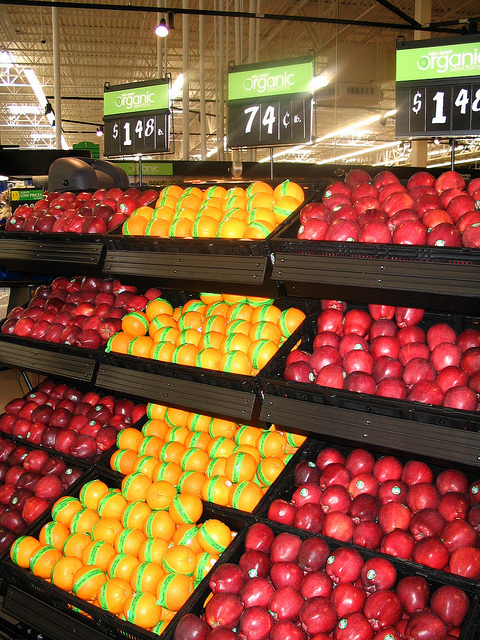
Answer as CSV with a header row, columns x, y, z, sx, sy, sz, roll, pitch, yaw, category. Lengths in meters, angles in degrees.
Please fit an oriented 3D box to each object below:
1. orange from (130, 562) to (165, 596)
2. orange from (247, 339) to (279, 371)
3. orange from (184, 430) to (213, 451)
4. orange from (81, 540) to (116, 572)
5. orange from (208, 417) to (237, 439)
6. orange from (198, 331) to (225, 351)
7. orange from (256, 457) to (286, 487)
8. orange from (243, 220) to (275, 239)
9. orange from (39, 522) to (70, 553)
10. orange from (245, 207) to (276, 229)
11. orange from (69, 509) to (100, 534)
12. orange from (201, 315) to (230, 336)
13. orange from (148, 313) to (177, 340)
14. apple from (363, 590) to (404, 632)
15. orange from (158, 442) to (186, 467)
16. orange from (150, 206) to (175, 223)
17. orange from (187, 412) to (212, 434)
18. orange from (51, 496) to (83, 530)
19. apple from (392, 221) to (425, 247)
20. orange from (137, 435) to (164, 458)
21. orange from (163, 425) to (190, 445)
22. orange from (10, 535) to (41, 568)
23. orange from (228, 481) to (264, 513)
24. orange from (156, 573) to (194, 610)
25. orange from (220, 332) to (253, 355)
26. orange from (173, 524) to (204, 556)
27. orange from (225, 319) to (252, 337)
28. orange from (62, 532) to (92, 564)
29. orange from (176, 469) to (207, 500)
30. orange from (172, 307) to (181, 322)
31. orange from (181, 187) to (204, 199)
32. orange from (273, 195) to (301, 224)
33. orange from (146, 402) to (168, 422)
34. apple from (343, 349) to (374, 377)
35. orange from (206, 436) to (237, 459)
x,y,z,sx,sy,sz,roll,pitch,yaw,category
-0.280,0.779,1.310,0.085,0.092,0.087,-1,-4,0,orange
0.065,0.099,1.428,0.101,0.097,0.095,10,14,-12,orange
-0.169,0.487,1.749,0.076,0.075,0.057,29,-22,-26,orange
-0.491,0.793,1.478,0.083,0.077,0.083,-4,-5,-41,orange
-0.071,0.440,1.747,0.111,0.092,0.092,-4,-16,3,orange
-0.106,0.073,1.565,0.070,0.072,0.079,-5,3,1,orange
0.106,0.521,1.498,0.096,0.113,0.096,8,9,3,orange
0.068,-0.302,1.432,0.059,0.061,0.059,35,69,24,orange
-0.709,0.830,1.654,0.082,0.084,0.097,-33,40,-3,orange
0.081,-0.376,1.543,0.095,0.080,0.081,-18,35,-15,orange
-0.598,0.764,1.650,0.083,0.090,0.086,-7,-12,0,orange
-0.094,0.013,1.640,0.080,0.089,0.084,12,37,-15,orange
-0.322,0.012,1.836,0.105,0.103,0.119,-20,-8,-14,orange
0.343,0.673,1.006,0.099,0.075,0.067,-15,22,-23,apple
-0.273,0.529,1.694,0.085,0.090,0.080,-7,-22,0,orange
-0.321,-0.446,1.786,0.087,0.096,0.086,4,-10,1,orange
-0.169,0.430,1.817,0.082,0.092,0.082,3,-2,3,orange
-0.692,0.766,1.712,0.081,0.070,0.082,6,13,-21,orange
0.448,-0.223,1.115,0.084,0.065,0.070,-20,14,-30,apple
-0.379,0.520,1.824,0.084,0.093,0.082,-22,-7,7,orange
-0.269,0.481,1.816,0.074,0.076,0.058,10,-33,-36,orange
-0.819,0.858,1.606,0.086,0.093,0.089,-9,-10,6,orange
0.021,0.582,1.450,0.085,0.095,0.086,-1,9,9,orange
-0.176,0.778,1.231,0.103,0.084,0.094,24,26,-18,orange
-0.012,0.077,1.480,0.076,0.080,0.087,6,36,9,orange
-0.170,0.697,1.401,0.081,0.094,0.082,-1,-7,-19,orange
-0.004,0.028,1.588,0.063,0.062,0.064,20,-14,-35,orange
-0.596,0.819,1.544,0.061,0.080,0.082,0,46,7,orange
-0.181,0.594,1.590,0.092,0.081,0.086,20,5,41,orange
-0.269,-0.031,1.897,0.048,0.054,0.047,0,-1,-1,orange
-0.218,-0.581,1.934,0.086,0.073,0.079,9,17,-6,orange
0.171,-0.420,1.643,0.104,0.113,0.100,-16,40,-26,orange
-0.382,0.413,1.998,0.088,0.098,0.087,3,12,3,orange
0.344,0.118,1.219,0.068,0.080,0.069,15,15,39,apple
-0.074,0.497,1.678,0.084,0.075,0.062,15,-17,13,orange
